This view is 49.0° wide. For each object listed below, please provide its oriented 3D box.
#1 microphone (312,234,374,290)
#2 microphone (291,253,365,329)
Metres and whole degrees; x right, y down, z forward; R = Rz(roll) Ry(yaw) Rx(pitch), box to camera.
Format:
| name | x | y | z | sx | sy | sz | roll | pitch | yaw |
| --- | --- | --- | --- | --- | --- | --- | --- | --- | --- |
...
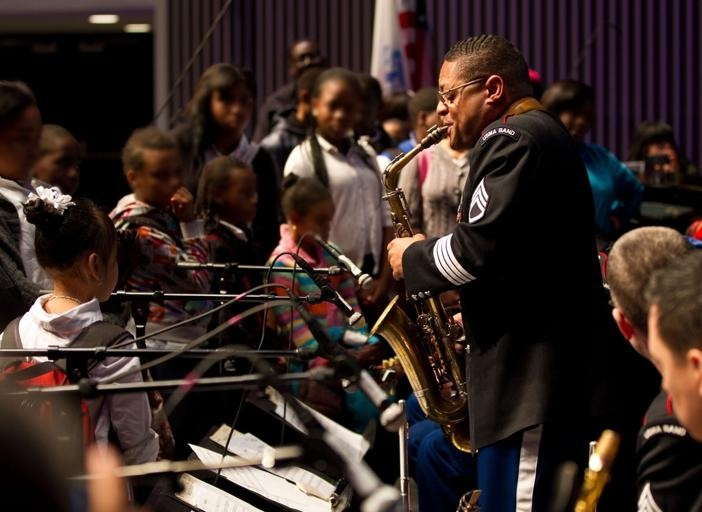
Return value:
| name | x | y | z | sx | sy | sz | roll | pitch | yaw |
| --- | --- | --- | --- | --- | --- | --- | --- | --- | --- |
| microphone | 0.030 | 0.048 | 2.948 | 0.219 | 0.228 | 0.208 | -1 | 12 | -38 |
| microphone | -0.122 | 0.157 | 3.411 | 0.088 | 0.094 | 0.462 | -25 | 61 | -38 |
